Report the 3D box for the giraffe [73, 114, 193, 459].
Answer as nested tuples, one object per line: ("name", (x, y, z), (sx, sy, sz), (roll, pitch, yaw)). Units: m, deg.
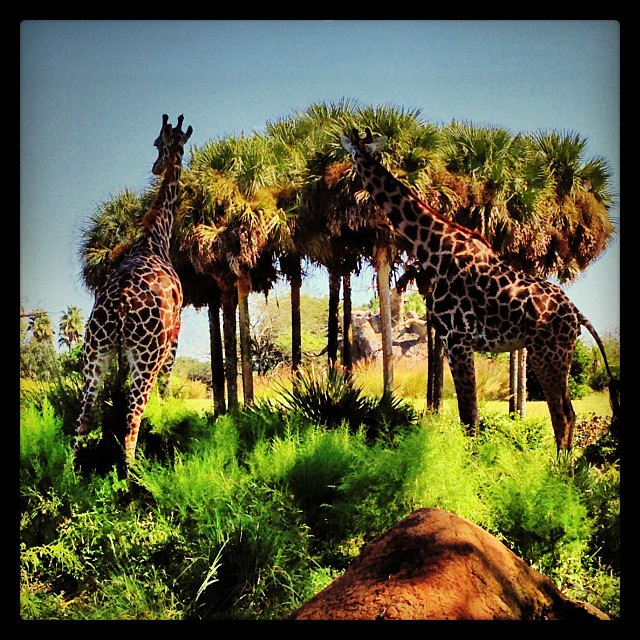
("giraffe", (-1.776, -0.361, 6.056), (1.102, 3.195, 0.714), (0, -2, -33))
